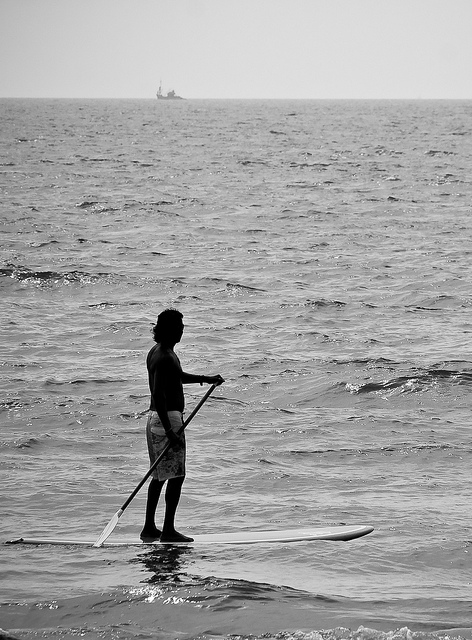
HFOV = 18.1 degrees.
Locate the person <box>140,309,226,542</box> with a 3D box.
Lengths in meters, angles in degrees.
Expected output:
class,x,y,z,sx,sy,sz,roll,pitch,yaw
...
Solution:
class,x,y,z,sx,sy,sz,roll,pitch,yaw
person,-0.441,0.784,11.236,0.471,1.731,0.643,1,0,18
